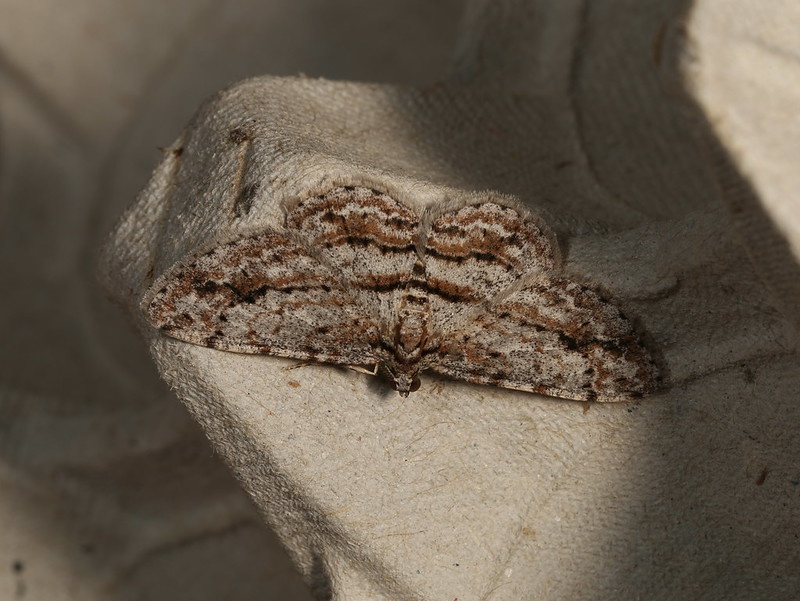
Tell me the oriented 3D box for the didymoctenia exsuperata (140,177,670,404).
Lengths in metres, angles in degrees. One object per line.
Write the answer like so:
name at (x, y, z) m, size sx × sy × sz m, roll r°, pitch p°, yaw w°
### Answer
didymoctenia exsuperata at (-0.004, -0.055, 1.657) m, size 0.505 × 0.043 × 0.230 m, roll -9°, pitch 66°, yaw -18°
